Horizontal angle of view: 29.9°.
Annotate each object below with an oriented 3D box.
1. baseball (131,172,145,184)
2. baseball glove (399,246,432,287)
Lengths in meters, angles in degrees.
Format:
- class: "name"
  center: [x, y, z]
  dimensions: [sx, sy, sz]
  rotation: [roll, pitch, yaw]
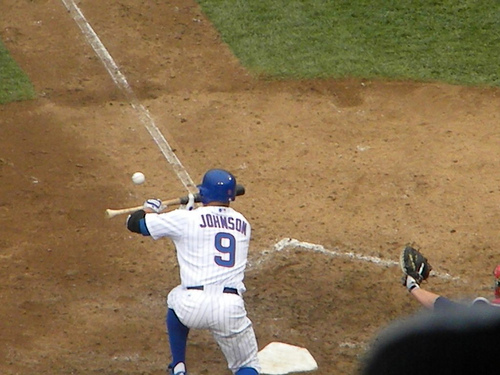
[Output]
- class: "baseball"
  center: [-1.892, -0.184, 16.067]
  dimensions: [0.199, 0.199, 0.104]
  rotation: [11, 74, -39]
- class: "baseball glove"
  center: [2.765, 1.300, 15.746]
  dimensions: [0.279, 0.462, 0.680]
  rotation: [-22, 56, 37]
